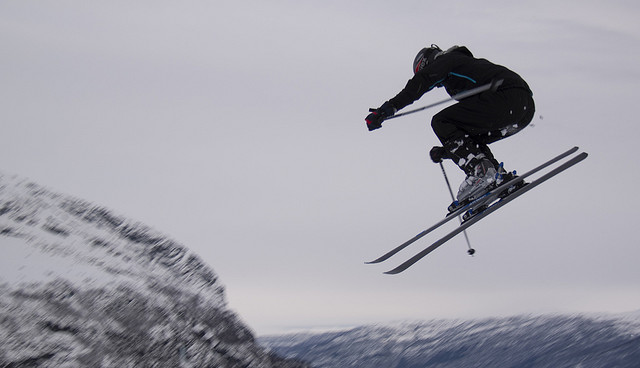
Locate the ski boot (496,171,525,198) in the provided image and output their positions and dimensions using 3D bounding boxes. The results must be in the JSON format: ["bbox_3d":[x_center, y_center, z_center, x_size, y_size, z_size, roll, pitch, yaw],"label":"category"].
[{"bbox_3d":[2.472,0.011,8.694,0.278,0.375,0.114,44,-6,-10],"label":"ski boot"}]

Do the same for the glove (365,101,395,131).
[{"bbox_3d":[0.757,-0.889,8.824,0.474,0.179,0.298,-36,-3,-9],"label":"glove"}]
